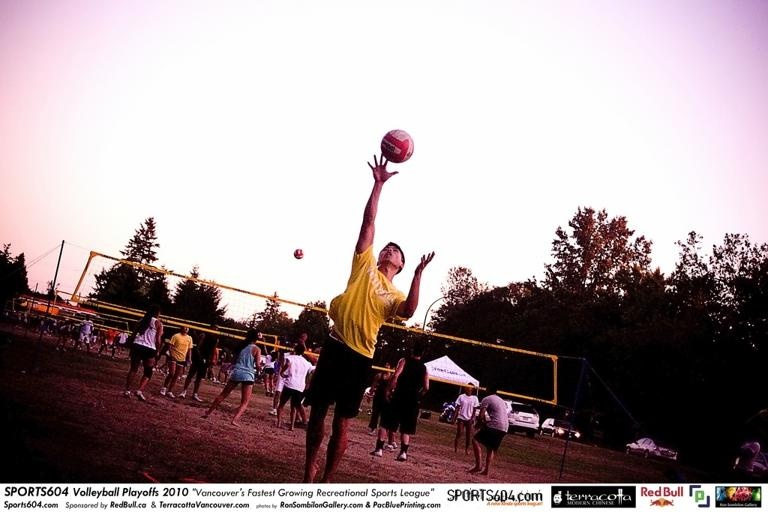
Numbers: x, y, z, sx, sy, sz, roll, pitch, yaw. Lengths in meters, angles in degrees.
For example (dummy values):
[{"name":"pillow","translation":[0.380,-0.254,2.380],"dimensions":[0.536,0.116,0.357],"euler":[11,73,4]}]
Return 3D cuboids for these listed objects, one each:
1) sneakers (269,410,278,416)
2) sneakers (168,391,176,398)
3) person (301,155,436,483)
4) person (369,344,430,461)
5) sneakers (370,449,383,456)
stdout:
[{"name":"sneakers","translation":[-2.886,4.095,13.698],"dimensions":[0.117,0.146,0.322],"euler":[5,-5,-35]},{"name":"sneakers","translation":[-5.430,3.527,13.374],"dimensions":[0.145,0.199,0.460],"euler":[4,-17,-31]},{"name":"person","translation":[-0.185,0.686,5.854],"dimensions":[0.891,3.630,0.597],"euler":[12,-15,-1]},{"name":"person","translation":[0.433,2.976,10.961],"dimensions":[0.781,2.445,0.749],"euler":[15,0,-4]},{"name":"sneakers","translation":[-0.118,3.672,9.776],"dimensions":[0.285,0.121,0.098],"euler":[-3,-10,43]}]
